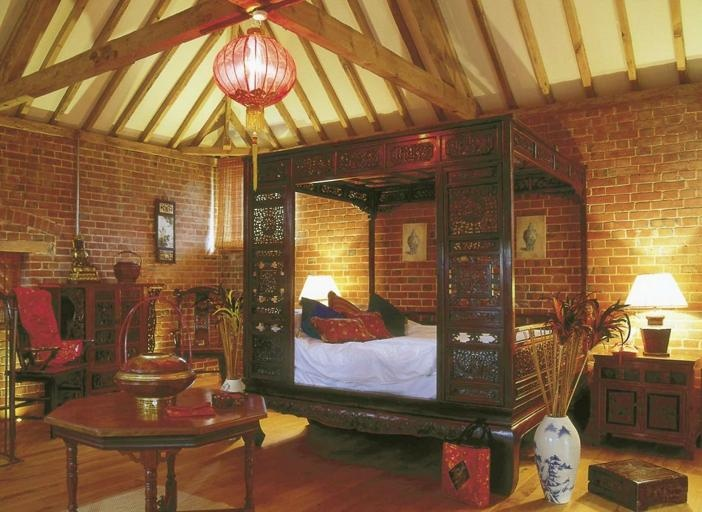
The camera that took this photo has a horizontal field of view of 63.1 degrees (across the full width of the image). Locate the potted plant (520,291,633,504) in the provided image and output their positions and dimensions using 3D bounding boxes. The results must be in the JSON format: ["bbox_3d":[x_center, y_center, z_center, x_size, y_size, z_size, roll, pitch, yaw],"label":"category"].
[{"bbox_3d":[2.081,1.126,5.225,0.817,1.618,1.725,2,3,26],"label":"potted plant"}]

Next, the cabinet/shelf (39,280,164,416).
[{"bbox_3d":[-2.686,0.950,5.952,0.555,1.399,1.567,-6,-7,29],"label":"cabinet/shelf"}]

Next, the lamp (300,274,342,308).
[{"bbox_3d":[-0.437,0.472,7.749,0.417,0.279,0.440,-5,-6,31],"label":"lamp"}]

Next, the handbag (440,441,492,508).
[{"bbox_3d":[0.912,1.735,4.511,0.482,0.451,0.171,-2,-8,33],"label":"handbag"}]

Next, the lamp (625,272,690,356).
[{"bbox_3d":[3.159,0.586,5.933,0.541,0.802,0.649,2,3,25],"label":"lamp"}]
